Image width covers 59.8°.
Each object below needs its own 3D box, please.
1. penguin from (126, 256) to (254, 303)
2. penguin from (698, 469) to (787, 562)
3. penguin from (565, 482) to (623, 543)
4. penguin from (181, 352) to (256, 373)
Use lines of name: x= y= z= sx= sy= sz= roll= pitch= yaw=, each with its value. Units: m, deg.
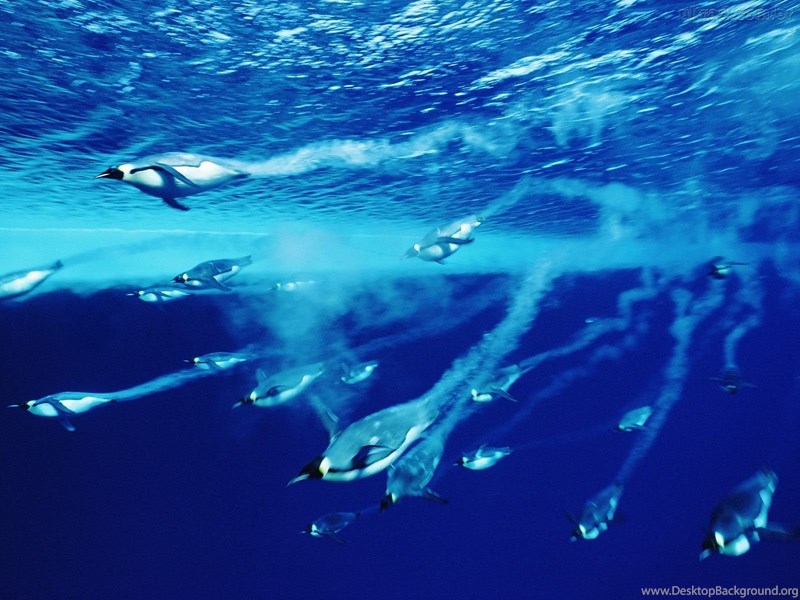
penguin: x=-3.567 y=-0.398 z=12.257 sx=1.728 sy=0.329 sz=1.122 roll=-20 pitch=22 yaw=-27
penguin: x=5.229 y=3.281 z=10.297 sx=2.060 sy=0.979 sz=0.720 roll=-31 pitch=29 yaw=-34
penguin: x=3.336 y=3.683 z=11.826 sx=0.421 sy=0.769 sz=1.295 roll=4 pitch=30 yaw=39
penguin: x=-3.451 y=1.163 z=13.387 sx=0.592 sy=0.210 sz=1.013 roll=4 pitch=6 yaw=44
